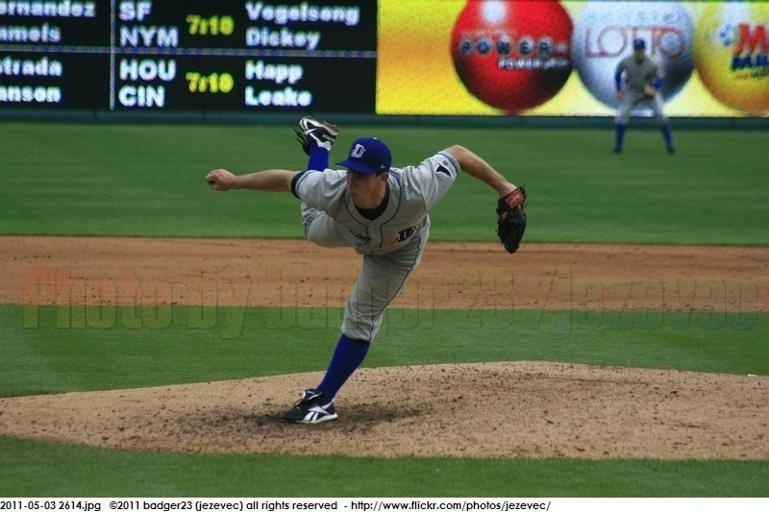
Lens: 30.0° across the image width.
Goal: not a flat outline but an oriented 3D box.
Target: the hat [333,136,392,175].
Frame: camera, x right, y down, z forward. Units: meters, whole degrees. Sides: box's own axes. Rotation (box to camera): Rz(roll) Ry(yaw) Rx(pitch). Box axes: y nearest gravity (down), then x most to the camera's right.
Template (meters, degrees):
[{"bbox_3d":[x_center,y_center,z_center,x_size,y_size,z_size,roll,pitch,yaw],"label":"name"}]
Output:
[{"bbox_3d":[-0.233,-1.213,17.123,0.533,0.352,0.744,26,25,36],"label":"hat"}]
